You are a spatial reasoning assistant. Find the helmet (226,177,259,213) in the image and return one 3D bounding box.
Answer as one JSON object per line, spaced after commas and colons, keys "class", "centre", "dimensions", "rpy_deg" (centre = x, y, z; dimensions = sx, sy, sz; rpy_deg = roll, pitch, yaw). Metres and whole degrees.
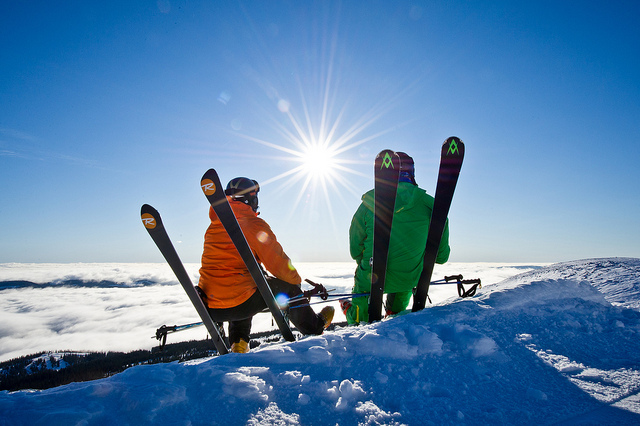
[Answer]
{"class": "helmet", "centre": [-1.253, -0.288, 5.949], "dimensions": [0.463, 0.615, 0.481], "rpy_deg": [-5, -3, -17]}
